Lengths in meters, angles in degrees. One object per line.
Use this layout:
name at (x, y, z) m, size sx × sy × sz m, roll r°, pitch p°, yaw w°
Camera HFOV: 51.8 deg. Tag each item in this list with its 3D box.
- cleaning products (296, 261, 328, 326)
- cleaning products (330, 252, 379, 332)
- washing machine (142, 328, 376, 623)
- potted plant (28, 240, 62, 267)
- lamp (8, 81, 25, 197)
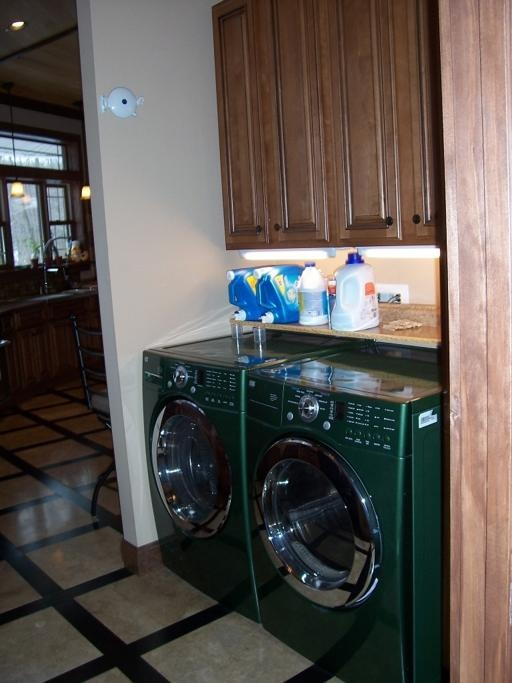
cleaning products at (0.217, -0.186, 2.069) m, size 0.132 × 0.244 × 0.134 m, roll -1°, pitch 6°, yaw 16°
cleaning products at (0.377, -0.182, 1.931) m, size 0.186 × 0.269 × 0.184 m, roll -2°, pitch 7°, yaw -8°
washing machine at (-0.149, 0.455, 2.570) m, size 0.976 × 1.330 × 0.933 m, roll -4°, pitch 6°, yaw -41°
potted plant at (-2.653, -1.125, 6.627) m, size 0.380 × 0.376 × 0.235 m, roll 0°, pitch 6°, yaw -12°
lamp at (-2.790, -2.228, 6.039) m, size 0.140 × 1.134 × 0.496 m, roll -5°, pitch 6°, yaw -23°
